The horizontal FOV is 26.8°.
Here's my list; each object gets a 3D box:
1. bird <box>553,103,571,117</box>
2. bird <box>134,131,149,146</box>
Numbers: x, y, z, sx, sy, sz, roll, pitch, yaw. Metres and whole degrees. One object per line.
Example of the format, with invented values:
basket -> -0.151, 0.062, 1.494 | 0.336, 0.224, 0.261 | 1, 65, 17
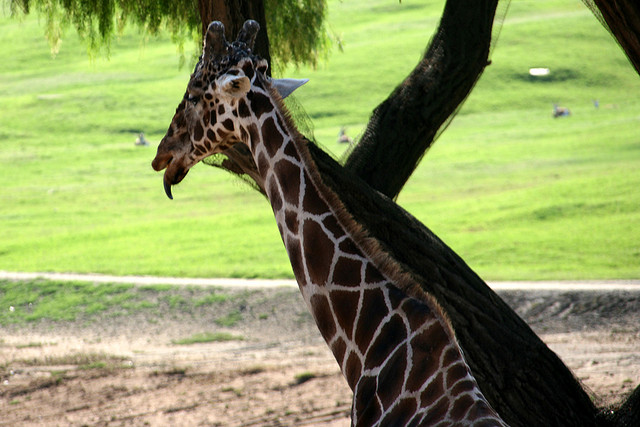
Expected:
bird -> 13.821, -5.752, 76.457 | 0.947, 0.423, 0.745 | 2, 22, 1
bird -> -10.237, -4.314, 77.061 | 0.410, 0.644, 1.182 | 10, 37, -7
